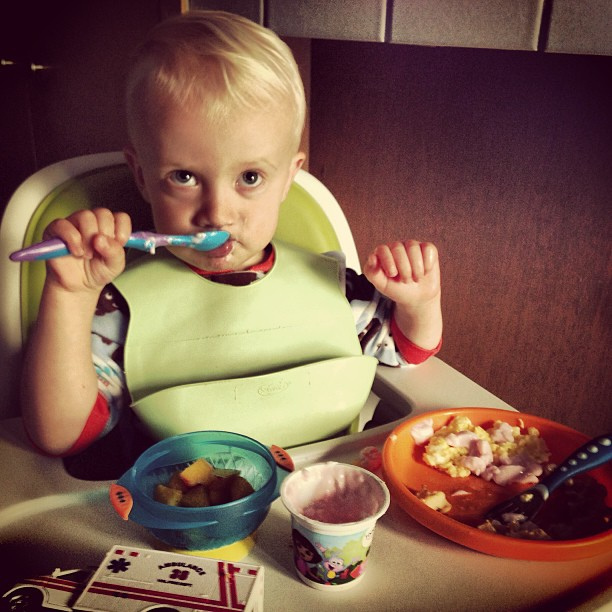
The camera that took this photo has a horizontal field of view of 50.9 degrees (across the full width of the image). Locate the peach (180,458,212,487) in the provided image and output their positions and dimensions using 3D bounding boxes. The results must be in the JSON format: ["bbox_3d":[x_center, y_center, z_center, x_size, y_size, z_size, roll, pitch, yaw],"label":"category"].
[{"bbox_3d":[-0.119,0.184,0.705,0.022,0.020,0.035,20,26,37],"label":"peach"}]

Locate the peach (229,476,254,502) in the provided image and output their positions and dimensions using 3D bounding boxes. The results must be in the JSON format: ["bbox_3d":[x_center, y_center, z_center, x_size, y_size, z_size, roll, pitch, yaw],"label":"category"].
[{"bbox_3d":[-0.072,0.201,0.705,0.025,0.016,0.038,1,20,-7],"label":"peach"}]

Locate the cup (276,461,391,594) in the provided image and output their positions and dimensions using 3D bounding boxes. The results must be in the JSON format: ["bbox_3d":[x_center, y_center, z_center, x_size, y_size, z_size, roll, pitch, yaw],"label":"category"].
[{"bbox_3d":[0.018,0.245,0.673,0.110,0.071,0.107,5,4,0],"label":"cup"}]

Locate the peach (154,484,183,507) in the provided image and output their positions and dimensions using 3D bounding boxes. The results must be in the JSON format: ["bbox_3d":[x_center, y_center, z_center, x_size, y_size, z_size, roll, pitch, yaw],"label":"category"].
[{"bbox_3d":[-0.147,0.203,0.685,0.028,0.011,0.040,-3,20,-17],"label":"peach"}]

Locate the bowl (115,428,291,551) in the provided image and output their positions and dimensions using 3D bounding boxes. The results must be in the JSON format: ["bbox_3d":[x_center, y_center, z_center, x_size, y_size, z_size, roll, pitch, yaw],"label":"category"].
[{"bbox_3d":[-0.112,0.195,0.705,0.152,0.053,0.157,-1,21,0],"label":"bowl"}]

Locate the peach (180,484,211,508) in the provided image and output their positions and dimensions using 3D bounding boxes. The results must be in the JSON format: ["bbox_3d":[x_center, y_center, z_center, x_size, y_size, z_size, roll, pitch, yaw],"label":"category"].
[{"bbox_3d":[-0.118,0.207,0.685,0.032,0.015,0.035,0,20,-8],"label":"peach"}]
